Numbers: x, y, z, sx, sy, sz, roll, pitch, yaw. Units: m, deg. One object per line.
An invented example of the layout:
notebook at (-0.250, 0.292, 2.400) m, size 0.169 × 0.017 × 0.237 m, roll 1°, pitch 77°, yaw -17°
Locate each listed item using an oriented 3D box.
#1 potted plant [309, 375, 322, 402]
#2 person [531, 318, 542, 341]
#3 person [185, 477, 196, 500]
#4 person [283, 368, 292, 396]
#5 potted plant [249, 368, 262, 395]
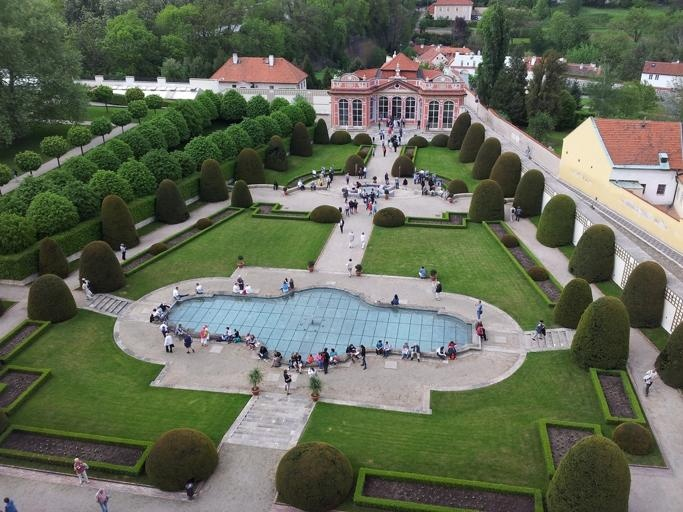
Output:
potted plant at (-1.624, 8.255, 36.259) m, size 0.710 × 1.309 × 0.801 m, roll 21°, pitch 38°, yaw 30°
person at (13.795, 5.111, 40.797) m, size 0.785 × 1.108 × 1.192 m, roll 12°, pitch 33°, yaw 21°
person at (-8.039, 12.304, 30.993) m, size 0.758 × 1.565 × 0.614 m, roll 5°, pitch 41°, yaw -8°
person at (-3.458, 7.651, 37.467) m, size 0.532 × 1.302 × 2.039 m, roll -4°, pitch 31°, yaw -6°
potted plant at (-5.416, 7.700, 36.878) m, size 0.713 × 1.901 × 1.171 m, roll -7°, pitch 30°, yaw -10°
